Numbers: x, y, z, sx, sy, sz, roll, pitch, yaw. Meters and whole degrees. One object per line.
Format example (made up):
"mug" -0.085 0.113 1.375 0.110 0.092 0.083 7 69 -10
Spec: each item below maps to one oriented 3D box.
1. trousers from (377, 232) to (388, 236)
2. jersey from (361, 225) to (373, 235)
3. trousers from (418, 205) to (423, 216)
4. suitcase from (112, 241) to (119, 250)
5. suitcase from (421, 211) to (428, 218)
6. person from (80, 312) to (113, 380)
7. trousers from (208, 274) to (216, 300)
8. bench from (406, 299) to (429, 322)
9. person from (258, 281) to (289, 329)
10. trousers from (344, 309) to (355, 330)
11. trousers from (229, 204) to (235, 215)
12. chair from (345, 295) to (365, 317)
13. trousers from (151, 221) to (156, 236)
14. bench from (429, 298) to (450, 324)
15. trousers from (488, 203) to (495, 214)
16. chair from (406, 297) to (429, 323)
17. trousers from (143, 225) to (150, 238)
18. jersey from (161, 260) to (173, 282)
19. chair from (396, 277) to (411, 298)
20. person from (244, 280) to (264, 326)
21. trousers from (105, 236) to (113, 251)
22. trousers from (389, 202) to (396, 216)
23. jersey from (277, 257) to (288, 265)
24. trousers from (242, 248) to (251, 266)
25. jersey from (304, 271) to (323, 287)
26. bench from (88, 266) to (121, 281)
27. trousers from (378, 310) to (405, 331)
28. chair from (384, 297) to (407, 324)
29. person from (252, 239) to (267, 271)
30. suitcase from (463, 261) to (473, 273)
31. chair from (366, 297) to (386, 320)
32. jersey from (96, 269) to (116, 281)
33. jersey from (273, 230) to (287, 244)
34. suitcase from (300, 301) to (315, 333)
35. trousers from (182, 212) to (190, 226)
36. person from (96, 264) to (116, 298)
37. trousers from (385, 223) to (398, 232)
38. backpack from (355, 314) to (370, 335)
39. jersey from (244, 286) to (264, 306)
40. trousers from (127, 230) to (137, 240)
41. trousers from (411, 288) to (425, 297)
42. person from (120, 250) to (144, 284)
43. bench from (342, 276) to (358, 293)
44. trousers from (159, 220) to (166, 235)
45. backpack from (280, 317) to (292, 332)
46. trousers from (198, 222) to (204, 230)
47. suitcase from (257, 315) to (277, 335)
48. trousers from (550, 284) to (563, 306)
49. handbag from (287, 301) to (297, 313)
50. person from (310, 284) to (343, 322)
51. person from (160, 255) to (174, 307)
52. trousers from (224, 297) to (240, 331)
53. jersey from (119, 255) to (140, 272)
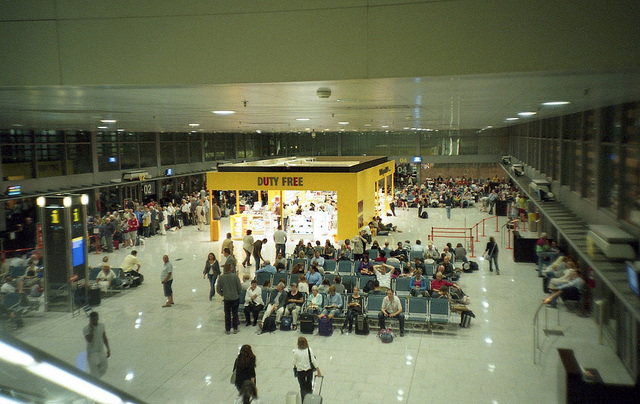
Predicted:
"trousers" 3.537 1.810 27.891 0.572 0.148 0.404 -1 11 -1
"jersey" 2.515 1.457 26.105 0.379 0.624 0.654 -12 17 -19
"trousers" 7.058 0.612 34.604 0.278 0.894 0.235 1 43 22
"suitcase" -10.405 2.210 25.123 0.354 0.345 0.337 0 0 -5
"suitcase" 7.117 0.866 33.081 0.302 0.364 0.600 -3 -5 5
"person" -5.569 3.591 12.293 0.441 1.837 0.575 9 16 42
"trousers" -3.833 2.993 17.499 0.268 0.944 0.317 -4 12 -13
"bench" 3.014 3.326 15.091 0.652 0.600 0.596 0 -9 9
"person" -1.413 3.221 15.403 0.643 0.988 1.646 9 12 7
"trousers" 0.890 3.603 15.053 0.228 0.569 0.293 9 16 42
"trousers" -6.243 0.554 34.909 0.313 0.683 0.827 -4 12 -12
"chair" 1.093 3.266 15.442 0.620 0.981 0.532 1 -3 3
"trousers" -9.653 1.522 28.414 0.241 0.880 0.396 -6 13 -19
"bench" 3.598 3.317 15.082 0.664 0.735 0.830 -3 -11 23
"trousers" 12.189 0.388 35.061 0.384 0.834 1.347 3 12 20
"chair" 3.013 3.377 15.308 0.764 0.705 0.694 0 -15 9
"trousers" -9.801 1.668 27.812 0.308 0.683 0.449 -7 13 -24
"jersey" -5.186 2.341 16.678 0.257 0.589 0.265 -13 16 -43
"chair" 2.772 2.850 16.415 0.427 0.647 0.676 -1 -3 16
"person" -2.108 3.174 15.698 0.621 1.394 0.605 -3 12 -8
"trousers" -10.507 2.076 24.520 0.299 0.728 0.364 -7 13 -25
"trousers" 5.093 0.512 34.585 0.284 0.971 0.907 1 12 12
"jersey" -1.406 2.219 18.206 0.233 0.229 0.624 1 11 13
"trousers" -3.181 2.363 21.342 0.349 0.766 0.723 -4 12 -10
"jersey" -0.260 2.658 16.937 0.664 0.506 0.379 -2 -12 24
"bench" -8.201 2.645 18.429 0.775 0.321 0.554 1 1 6
"trousers" 2.113 3.502 14.934 0.975 0.835 0.538 -1 -4 15
"chair" 2.314 3.361 15.272 0.738 0.792 0.864 -1 -2 7
"person" -2.642 2.320 21.247 0.607 0.501 1.324 -6 -36 -8
"suitcase" 6.121 2.699 20.309 0.265 0.359 0.572 10 16 43
"chair" 1.648 3.325 15.422 0.762 0.670 0.611 2 0 11
"jersey" -7.857 2.698 18.085 0.627 0.423 0.442 -6 12 -22
"jersey" -1.760 1.557 21.383 0.426 0.611 0.374 9 16 42
"suitcase" -0.395 3.694 15.019 0.418 0.546 0.256 -3 12 -7
"trousers" -8.632 1.058 31.603 0.361 0.953 0.579 -5 12 -17
"person" -7.840 2.864 17.864 0.559 1.175 1.158 -3 12 -6
"trousers" 4.068 1.528 28.517 0.844 0.404 0.483 -4 12 -13
"backpack" 1.262 3.733 14.893 0.548 0.634 0.370 2 14 19
"jersey" -2.115 2.972 15.743 0.596 0.560 0.688 -3 12 -8
"trousers" -9.809 1.717 25.651 0.636 0.520 0.367 0 2 -27
"trousers" 3.185 2.911 15.877 0.454 0.215 0.387 -4 12 -16
"person" -7.347 2.510 19.255 1.006 1.261 0.933 6 12 -12
"bench" 1.026 2.870 17.174 0.418 0.521 0.179 4 -16 0
"trousers" -9.256 1.477 28.902 0.319 0.822 0.720 -6 12 -19
"backpack" -1.047 3.776 15.281 0.399 0.354 0.370 3 7 12
"trousers" -7.324 1.420 30.129 0.274 0.499 0.745 -5 12 -16
"suitcase" -1.604 3.736 15.039 0.614 0.527 0.291 -5 12 -18
"trousers" 7.912 3.158 16.600 0.236 0.612 0.467 9 -11 9
"handbag" -0.908 3.335 15.496 0.309 0.266 0.508 4 -7 -9
"person" 0.247 3.214 15.313 0.740 1.038 1.023 6 13 31
"person" -5.356 2.631 17.155 0.431 1.865 1.185 -5 12 -17
"trousers" -2.703 3.422 15.026 0.426 1.004 0.235 -7 13 -23
"jersey" -7.359 2.339 18.966 0.578 0.607 0.716 -3 12 -7
